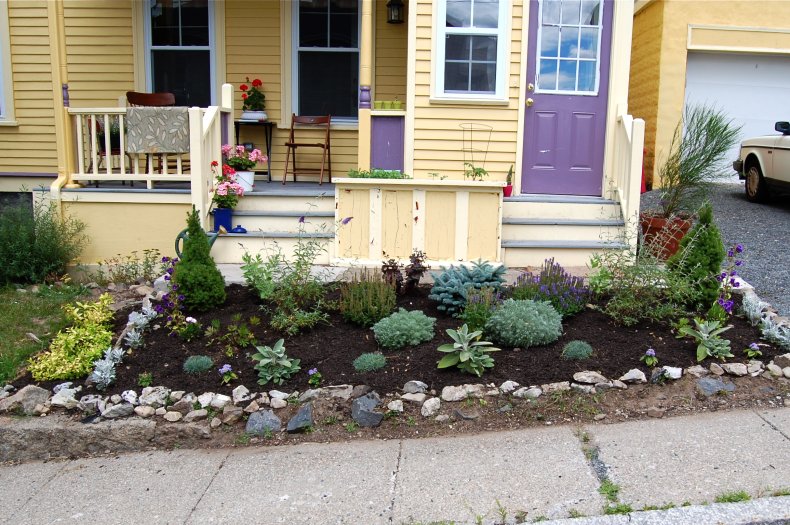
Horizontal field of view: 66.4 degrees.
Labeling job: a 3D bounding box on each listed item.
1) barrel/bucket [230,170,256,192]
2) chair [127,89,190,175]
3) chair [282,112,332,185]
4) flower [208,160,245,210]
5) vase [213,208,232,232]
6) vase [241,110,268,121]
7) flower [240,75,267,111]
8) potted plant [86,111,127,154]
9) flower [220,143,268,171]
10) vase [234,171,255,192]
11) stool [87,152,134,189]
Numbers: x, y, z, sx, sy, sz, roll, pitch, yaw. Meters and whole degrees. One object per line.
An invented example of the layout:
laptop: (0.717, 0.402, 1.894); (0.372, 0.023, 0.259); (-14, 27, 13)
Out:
barrel/bucket: (-2.066, -1.125, 8.336); (0.253, 0.229, 0.282); (-7, 12, -29)
chair: (-3.507, -1.773, 8.966); (0.752, 1.212, 0.815); (-7, -22, 3)
chair: (-1.367, -1.803, 9.686); (0.686, 1.154, 0.794); (6, 13, 8)
flower: (-2.234, -1.020, 8.008); (0.467, 0.622, 0.585); (-5, 9, -24)
vase: (-2.256, -0.567, 7.952); (0.259, 0.304, 0.280); (4, 6, 14)
vase: (-2.241, -2.354, 9.672); (0.385, 0.142, 0.210); (-5, 16, -18)
flower: (-2.265, -2.724, 9.839); (0.479, 0.518, 0.494); (-20, 37, -41)
potted plant: (-4.292, -1.901, 9.268); (0.453, 0.601, 0.430); (-9, -7, 9)
flower: (-2.157, -1.470, 8.708); (0.540, 0.419, 0.567); (3, 12, -7)
vase: (-2.074, -1.142, 8.388); (0.250, 0.227, 0.278); (-7, 14, -29)
stool: (-4.383, -1.501, 9.317); (0.622, 0.523, 1.854); (-6, 17, -23)
